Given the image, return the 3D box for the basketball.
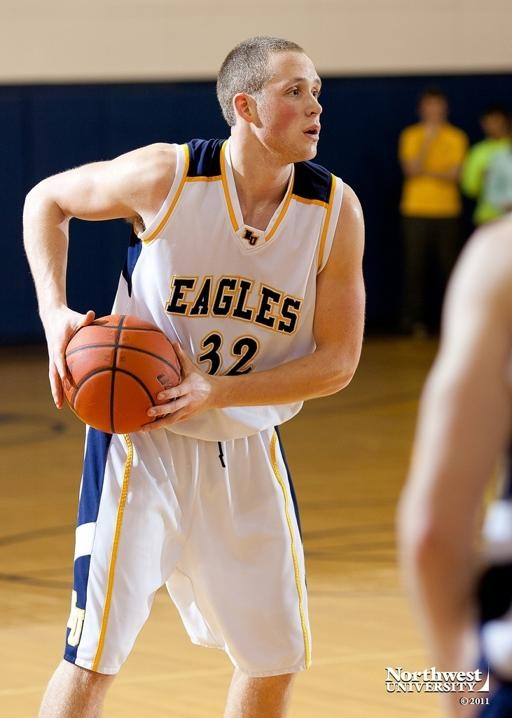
[{"bbox_3d":[-0.212,0.001,1.413,0.206,0.192,0.207,7,11,6],"label":"basketball"}]
